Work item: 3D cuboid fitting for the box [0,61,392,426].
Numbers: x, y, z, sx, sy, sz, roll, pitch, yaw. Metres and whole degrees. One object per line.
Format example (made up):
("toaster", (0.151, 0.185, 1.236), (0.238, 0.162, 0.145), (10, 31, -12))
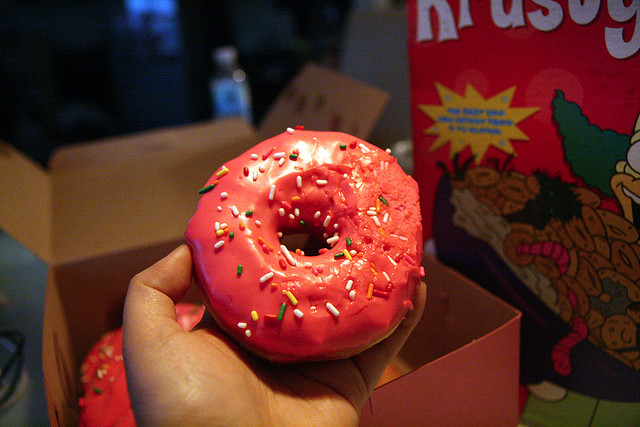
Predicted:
("box", (-0.303, 0.220, 2.132), (1.088, 0.747, 1.123), (-17, 30, -10))

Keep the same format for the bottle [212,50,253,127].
("bottle", (-0.335, -0.463, 2.155), (0.133, 0.251, 0.123), (-2, 36, 2))
